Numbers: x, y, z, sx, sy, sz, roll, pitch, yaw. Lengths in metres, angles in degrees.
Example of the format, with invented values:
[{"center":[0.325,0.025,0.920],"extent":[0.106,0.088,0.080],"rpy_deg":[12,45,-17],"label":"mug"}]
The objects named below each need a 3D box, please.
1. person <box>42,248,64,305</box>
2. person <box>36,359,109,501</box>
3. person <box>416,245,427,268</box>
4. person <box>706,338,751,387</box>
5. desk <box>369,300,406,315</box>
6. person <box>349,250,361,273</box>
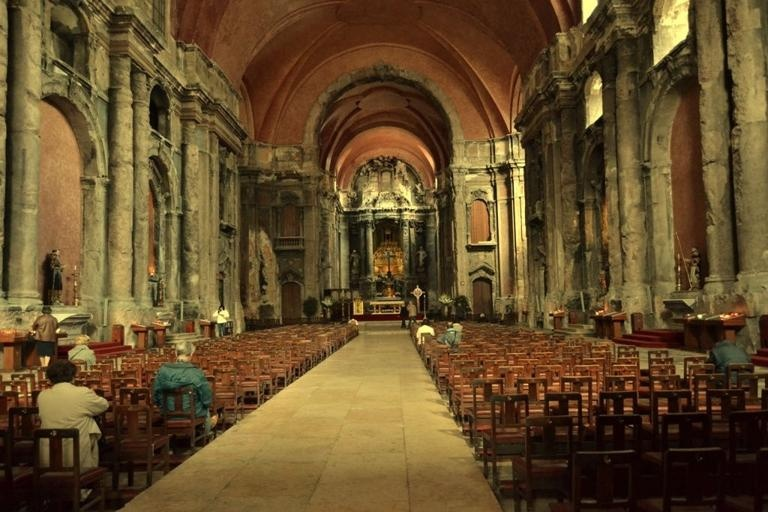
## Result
[{"center":[-10.025,0.674,21.599],"extent":[0.789,1.651,0.461],"rpy_deg":[-8,-7,40],"label":"person"},{"center":[-4.327,2.468,9.934],"extent":[0.861,1.960,0.723],"rpy_deg":[0,-6,-26],"label":"person"},{"center":[3.637,0.077,69.195],"extent":[1.089,2.200,1.430],"rpy_deg":[-3,-6,-5],"label":"person"},{"center":[6.151,1.909,12.433],"extent":[0.694,0.376,0.943],"rpy_deg":[10,16,14],"label":"person"},{"center":[-0.045,4.183,56.161],"extent":[2.625,1.307,2.105],"rpy_deg":[-3,-5,3],"label":"desk"},{"center":[-2.888,0.533,69.713],"extent":[0.881,2.352,1.238],"rpy_deg":[-1,-6,-22],"label":"person"}]
